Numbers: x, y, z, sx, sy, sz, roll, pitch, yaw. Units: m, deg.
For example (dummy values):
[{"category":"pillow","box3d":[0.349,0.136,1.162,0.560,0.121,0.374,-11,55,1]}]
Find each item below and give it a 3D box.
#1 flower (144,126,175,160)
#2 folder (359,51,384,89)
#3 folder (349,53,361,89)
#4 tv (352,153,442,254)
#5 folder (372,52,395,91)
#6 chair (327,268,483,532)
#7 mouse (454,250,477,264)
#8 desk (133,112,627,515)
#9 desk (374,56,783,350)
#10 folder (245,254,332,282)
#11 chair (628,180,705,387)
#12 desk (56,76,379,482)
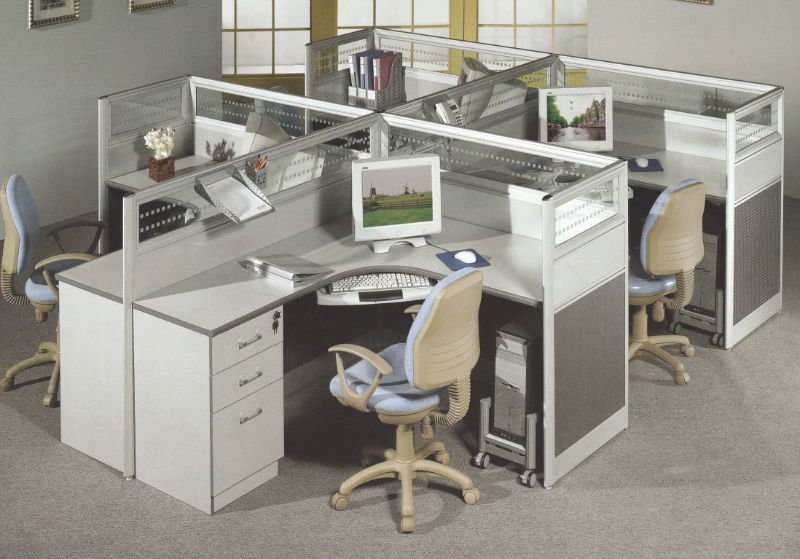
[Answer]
[{"category":"flower","box3d":[-1.631,-0.960,5.571,0.271,0.251,0.261,0,12,3]},{"category":"folder","box3d":[-0.199,-1.598,6.130,0.152,0.227,0.260,-3,6,19]},{"category":"folder","box3d":[-0.338,-1.595,6.098,0.073,0.212,0.165,3,12,7]},{"category":"tv","box3d":[-0.022,-0.428,4.563,0.528,0.502,0.291,-4,11,-15]},{"category":"folder","box3d":[-0.171,-1.556,6.066,0.153,0.249,0.282,15,17,29]},{"category":"chair","box3d":[0.039,0.648,4.052,0.813,1.196,0.840,19,27,36]},{"category":"mouse","box3d":[0.365,-0.127,4.415,0.073,0.018,0.089,-6,21,-15]},{"category":"desk","box3d":[0.035,0.020,4.203,2.251,1.440,2.313,15,28,40]},{"category":"desk","box3d":[1.139,-0.424,4.907,1.859,1.175,0.601,19,31,36]},{"category":"folder","box3d":[-0.605,-0.068,4.250,0.236,0.048,0.231,17,23,31]},{"category":"chair","box3d":[1.660,-0.044,4.940,0.471,1.174,0.687,10,29,19]},{"category":"desk","box3d":[-1.132,-0.075,4.680,2.069,1.450,1.999,-12,22,-35]}]
